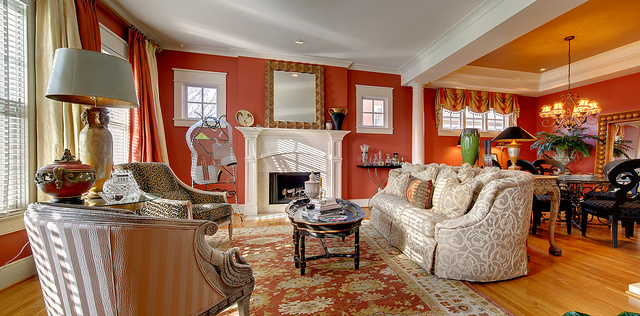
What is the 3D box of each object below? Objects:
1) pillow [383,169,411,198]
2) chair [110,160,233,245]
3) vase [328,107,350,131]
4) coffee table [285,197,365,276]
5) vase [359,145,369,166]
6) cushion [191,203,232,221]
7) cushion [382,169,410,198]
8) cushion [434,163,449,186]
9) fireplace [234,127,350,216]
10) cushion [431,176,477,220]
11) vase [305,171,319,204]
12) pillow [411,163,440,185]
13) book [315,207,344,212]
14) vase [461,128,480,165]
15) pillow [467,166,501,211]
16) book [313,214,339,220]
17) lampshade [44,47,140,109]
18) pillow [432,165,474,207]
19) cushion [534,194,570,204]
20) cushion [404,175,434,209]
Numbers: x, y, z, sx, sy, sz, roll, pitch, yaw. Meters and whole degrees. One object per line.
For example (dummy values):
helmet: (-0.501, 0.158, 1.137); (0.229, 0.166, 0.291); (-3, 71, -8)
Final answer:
pillow: (1.775, 0.576, 8.173); (0.194, 0.533, 0.590); (23, -3, -24)
chair: (-3.006, 0.876, 7.632); (2.476, 1.724, 1.793); (-2, -4, 15)
vase: (0.428, -1.039, 9.767); (0.755, 0.615, 0.586); (-1, -2, -7)
coffee table: (0.108, 1.563, 7.153); (1.540, 1.246, 0.957); (-1, 5, 1)
vase: (1.264, -0.127, 9.878); (0.267, 0.467, 0.149); (-3, 5, -14)
cushion: (-2.318, 1.033, 7.482); (0.556, 0.196, 0.501); (0, 2, -44)
cushion: (1.766, 0.573, 8.186); (0.196, 0.547, 0.602); (24, -6, -33)
cushion: (2.657, 0.350, 7.597); (0.107, 0.392, 0.296); (35, -16, -18)
fireplace: (-0.860, 0.317, 9.047); (4.456, 2.070, 1.056); (2, 3, -7)
cushion: (2.638, 0.862, 7.226); (0.375, 1.108, 1.278); (6, -12, 39)
vase: (-0.163, 0.637, 7.563); (0.288, 0.606, 0.331); (-2, 5, -5)
pillow: (2.297, 0.320, 7.730); (0.149, 0.443, 0.492); (35, -15, -35)
book: (0.174, 0.994, 6.979); (0.533, 0.064, 0.156); (-1, 4, -2)
vase: (2.896, -0.219, 6.903); (0.302, 0.692, 0.164); (0, 6, 17)
pillow: (3.214, 0.555, 7.018); (0.560, 0.848, 0.517); (2, 4, 20)
book: (0.104, 1.116, 6.851); (0.471, 0.076, 0.162); (-1, 4, 2)
lampshade: (-4.320, -1.438, 6.603); (1.843, 0.792, 1.620); (3, 1, -1)
pillow: (2.749, 0.519, 7.365); (0.732, 0.851, 0.574); (1, 2, 22)
cushion: (5.117, 0.923, 7.983); (0.540, 0.109, 0.520); (1, -2, -20)
cushion: (2.092, 0.697, 7.843); (0.397, 0.637, 0.973); (-9, 13, -12)
